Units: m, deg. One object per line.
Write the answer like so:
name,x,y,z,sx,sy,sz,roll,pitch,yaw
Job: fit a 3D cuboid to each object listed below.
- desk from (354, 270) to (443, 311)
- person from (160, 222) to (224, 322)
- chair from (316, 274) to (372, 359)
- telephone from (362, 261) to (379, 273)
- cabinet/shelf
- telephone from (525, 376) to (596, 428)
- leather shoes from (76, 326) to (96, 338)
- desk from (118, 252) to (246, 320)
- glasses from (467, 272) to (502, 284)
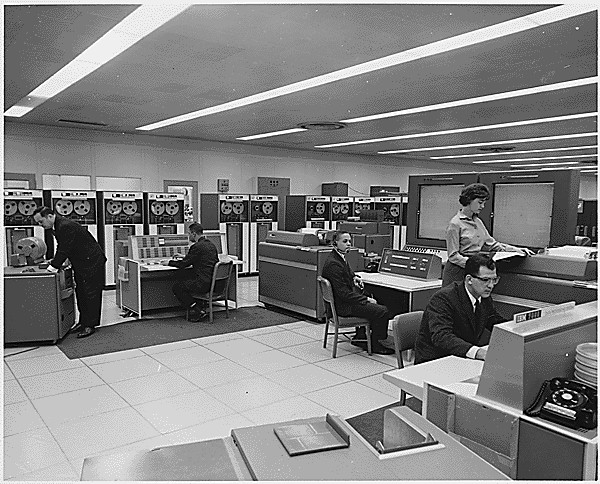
desk,0.857,0.554,4.071,0.406,0.416,0.800,-6,9,-35
person,-1.233,0.367,5.008,0.528,1.120,0.985,-2,5,-30
chair,0.413,0.667,3.977,0.482,0.689,0.448,-3,3,-26
telephone,0.747,0.263,4.489,0.104,0.093,0.139,-2,-1,-5
cabinet/shelf,-2.497,0.547,4.314,0.584,0.759,1.013,-2,5,-20
telephone,0.965,0.585,1.593,0.211,0.130,0.212,3,5,30
leather shoes,-2.175,0.924,4.376,0.068,0.078,0.187,1,-5,31
desk,-1.796,0.555,5.405,1.131,0.652,0.816,-2,3,-37
glasses,0.947,0.190,2.238,0.143,0.048,0.063,1,5,13
